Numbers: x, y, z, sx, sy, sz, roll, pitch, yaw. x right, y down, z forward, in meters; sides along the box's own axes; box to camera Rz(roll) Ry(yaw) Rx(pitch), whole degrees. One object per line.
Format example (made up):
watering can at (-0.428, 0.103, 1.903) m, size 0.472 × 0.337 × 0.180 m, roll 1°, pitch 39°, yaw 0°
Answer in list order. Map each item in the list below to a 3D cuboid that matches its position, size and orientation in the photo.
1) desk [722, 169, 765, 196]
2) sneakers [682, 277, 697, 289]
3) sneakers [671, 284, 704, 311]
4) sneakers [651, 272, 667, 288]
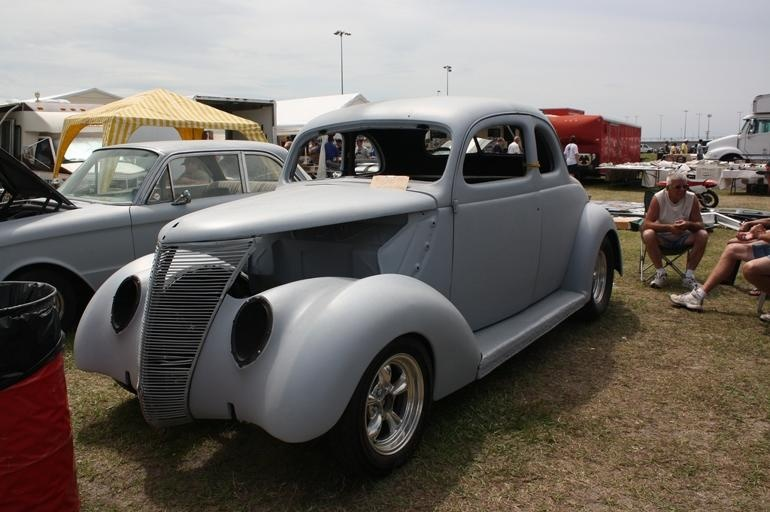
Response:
desk at (13.672, -2.866, 18.512) m, size 1.440 × 0.936 × 1.575 m, roll 9°, pitch 15°, yaw 36°
sneakers at (4.173, 0.367, 6.671) m, size 0.134 × 0.127 × 0.316 m, roll 1°, pitch 1°, yaw 1°
sneakers at (3.773, 0.521, 6.074) m, size 0.195 × 0.290 × 0.532 m, roll 0°, pitch 7°, yaw -14°
sneakers at (3.858, 0.334, 6.850) m, size 0.124 × 0.167 × 0.361 m, roll -4°, pitch -7°, yaw 43°
